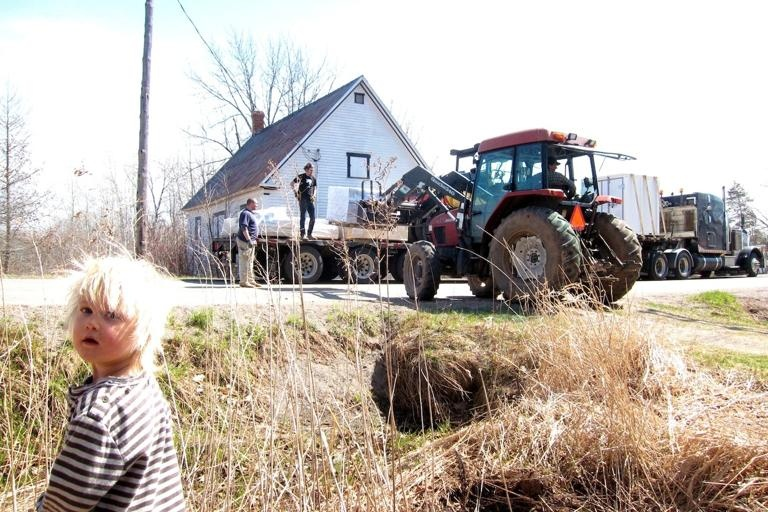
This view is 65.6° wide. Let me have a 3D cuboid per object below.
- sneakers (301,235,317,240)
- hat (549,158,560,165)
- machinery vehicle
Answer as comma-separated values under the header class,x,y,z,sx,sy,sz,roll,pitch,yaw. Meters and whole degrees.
class,x,y,z,sx,sy,sz,roll,pitch,yaw
sneakers,-1.828,-0.445,14.325,0.308,0.157,0.115,0,3,0
hat,2.802,-1.591,9.983,0.245,0.113,0.100,1,-2,-41
machinery vehicle,1.511,-0.549,10.996,2.515,3.256,5.555,1,-3,-37
